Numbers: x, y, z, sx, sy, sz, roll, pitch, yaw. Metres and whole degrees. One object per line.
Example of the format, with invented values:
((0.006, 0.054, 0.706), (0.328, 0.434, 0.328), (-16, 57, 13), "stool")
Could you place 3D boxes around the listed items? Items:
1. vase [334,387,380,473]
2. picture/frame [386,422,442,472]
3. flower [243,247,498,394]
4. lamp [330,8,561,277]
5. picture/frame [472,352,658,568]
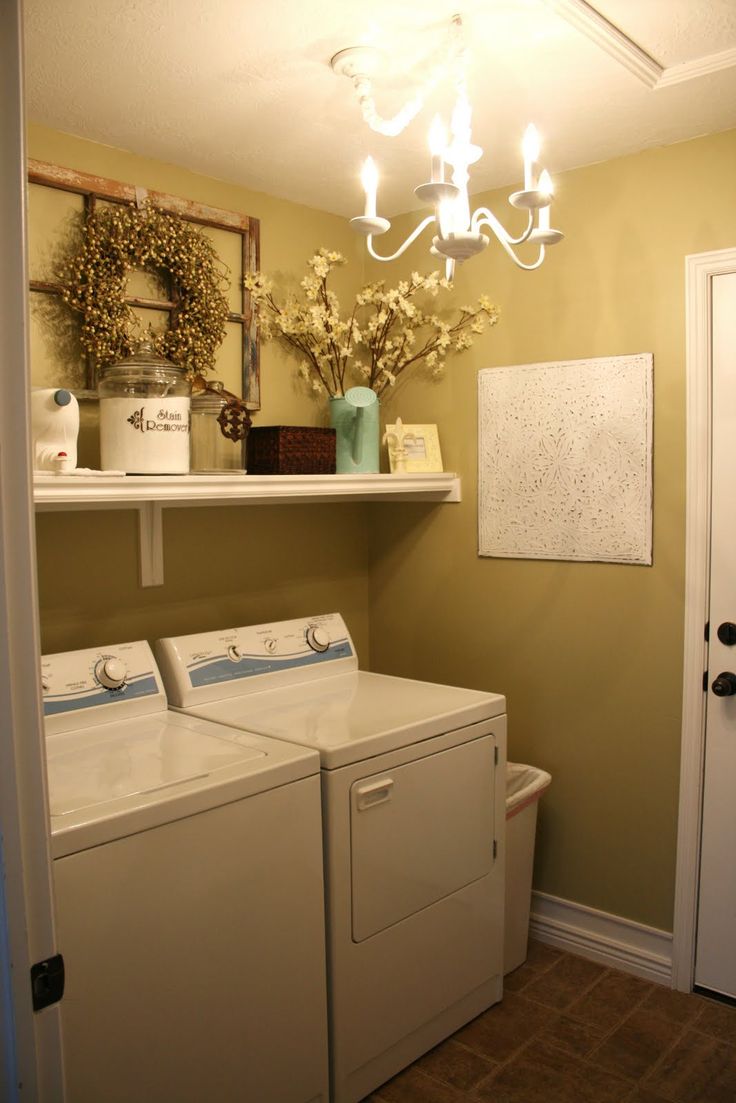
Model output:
((-0.037, -0.365, 2.371), (0.136, 0.263, 0.152), (0, 4, -3), "vase")
((0.153, -0.342, 2.582), (0.162, 0.167, 0.058), (-2, -4, -26), "picture/frame")
((0.021, -0.686, 2.550), (0.429, 0.447, 0.712), (27, 22, 39), "flower")
((0.145, -0.797, 1.533), (0.427, 0.467, 0.354), (0, 33, 1), "lamp")
((0.598, -0.278, 2.316), (0.651, 0.738, 0.034), (0, 0, 40), "picture/frame")
